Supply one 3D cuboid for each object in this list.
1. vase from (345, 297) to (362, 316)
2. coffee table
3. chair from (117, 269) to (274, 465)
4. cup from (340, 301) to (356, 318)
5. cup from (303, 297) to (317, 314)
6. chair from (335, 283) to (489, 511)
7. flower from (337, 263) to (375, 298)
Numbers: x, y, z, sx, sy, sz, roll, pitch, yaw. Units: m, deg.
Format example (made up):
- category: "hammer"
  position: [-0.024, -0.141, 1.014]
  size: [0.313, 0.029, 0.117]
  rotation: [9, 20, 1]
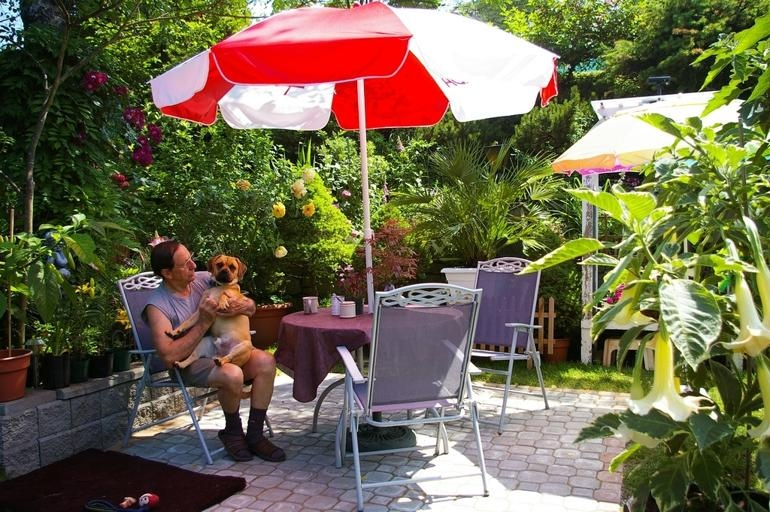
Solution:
- category: "vase"
  position: [-0.253, 0.409, 4.618]
  size: [0.118, 0.130, 0.135]
  rotation: [1, 4, 8]
- category: "coffee table"
  position: [-0.241, 0.917, 4.547]
  size: [1.031, 0.926, 1.060]
  rotation: [-22, -3, 15]
- category: "chair"
  position: [-1.535, 0.873, 4.712]
  size: [1.192, 1.381, 1.120]
  rotation: [2, 12, -7]
- category: "cup"
  position: [-0.296, 0.429, 4.580]
  size: [0.121, 0.107, 0.125]
  rotation: [1, -1, 0]
- category: "cup"
  position: [-0.634, 0.407, 4.789]
  size: [0.108, 0.114, 0.132]
  rotation: [0, -2, -1]
- category: "chair"
  position: [0.178, 0.854, 4.252]
  size: [1.336, 1.905, 1.337]
  rotation: [-1, 4, -12]
- category: "flower"
  position: [-0.269, 0.203, 4.688]
  size: [0.359, 0.408, 0.329]
  rotation: [0, 2, -9]
